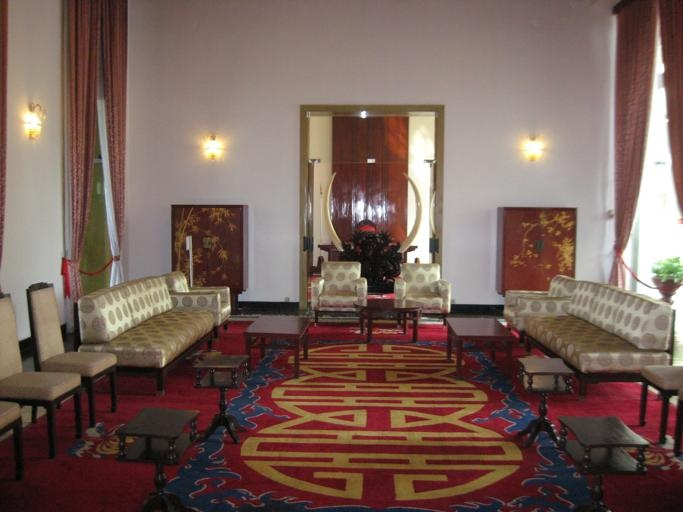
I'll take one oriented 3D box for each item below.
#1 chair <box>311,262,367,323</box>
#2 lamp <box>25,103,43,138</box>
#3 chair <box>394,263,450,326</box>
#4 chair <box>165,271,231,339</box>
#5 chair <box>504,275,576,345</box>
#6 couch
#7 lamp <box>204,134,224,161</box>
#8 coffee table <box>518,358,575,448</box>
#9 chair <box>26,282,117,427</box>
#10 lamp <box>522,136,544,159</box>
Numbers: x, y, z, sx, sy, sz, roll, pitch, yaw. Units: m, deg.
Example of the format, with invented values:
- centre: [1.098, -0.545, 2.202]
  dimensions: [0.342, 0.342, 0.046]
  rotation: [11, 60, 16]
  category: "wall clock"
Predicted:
- centre: [-0.052, 0.609, 7.979]
  dimensions: [0.818, 0.880, 1.097]
  rotation: [0, 8, -3]
  category: "chair"
- centre: [-4.057, -1.774, 6.653]
  dimensions: [0.123, 0.474, 0.392]
  rotation: [-1, 8, -8]
  category: "lamp"
- centre: [1.285, 0.562, 8.061]
  dimensions: [0.855, 0.844, 0.654]
  rotation: [1, 3, 4]
  category: "chair"
- centre: [-1.930, 0.655, 7.082]
  dimensions: [0.950, 0.855, 0.845]
  rotation: [0, 6, -5]
  category: "chair"
- centre: [2.762, 0.721, 6.942]
  dimensions: [1.023, 0.770, 1.006]
  rotation: [-7, 6, 31]
  category: "chair"
- centre: [-2.223, 0.829, 6.088]
  dimensions: [0.997, 0.931, 2.366]
  rotation: [4, 2, -2]
  category: "couch"
- centre: [-2.258, -1.922, 8.914]
  dimensions: [0.379, 0.417, 0.084]
  rotation: [-1, 8, -9]
  category: "lamp"
- centre: [1.724, 1.268, 4.284]
  dimensions: [0.442, 0.619, 0.685]
  rotation: [2, -9, 18]
  category: "coffee table"
- centre: [-2.432, 0.866, 4.563]
  dimensions: [0.750, 1.075, 0.654]
  rotation: [3, 0, -21]
  category: "chair"
- centre: [3.346, -1.870, 8.713]
  dimensions: [0.418, 0.365, 0.094]
  rotation: [3, 10, 3]
  category: "lamp"
